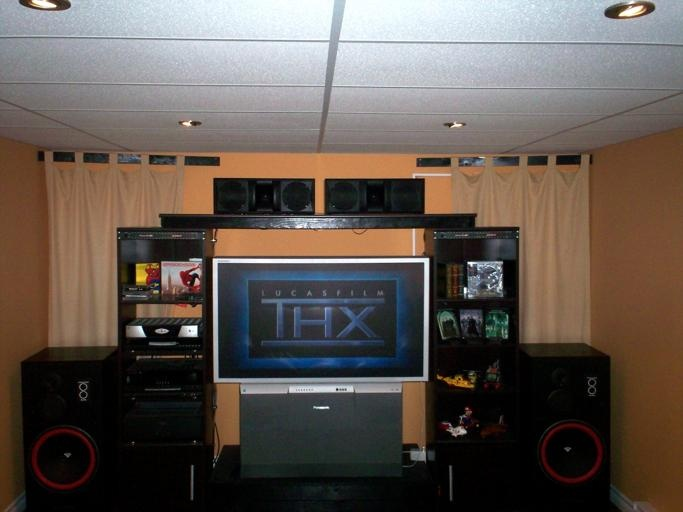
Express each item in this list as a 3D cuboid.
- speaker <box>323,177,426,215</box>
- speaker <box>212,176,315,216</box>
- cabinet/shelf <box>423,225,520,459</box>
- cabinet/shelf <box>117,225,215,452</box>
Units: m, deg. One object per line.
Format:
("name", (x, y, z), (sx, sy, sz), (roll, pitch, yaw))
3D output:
("speaker", (0.304, -0.495, 4.930), (0.873, 0.277, 0.247), (4, 8, 28))
("speaker", (-0.566, -0.478, 4.823), (0.845, 0.260, 0.236), (2, 5, 15))
("cabinet/shelf", (1.030, 0.658, 4.766), (0.758, 1.656, 0.461), (-2, -4, 15))
("cabinet/shelf", (-1.394, 0.602, 4.780), (0.651, 1.625, 0.505), (0, -1, -15))
